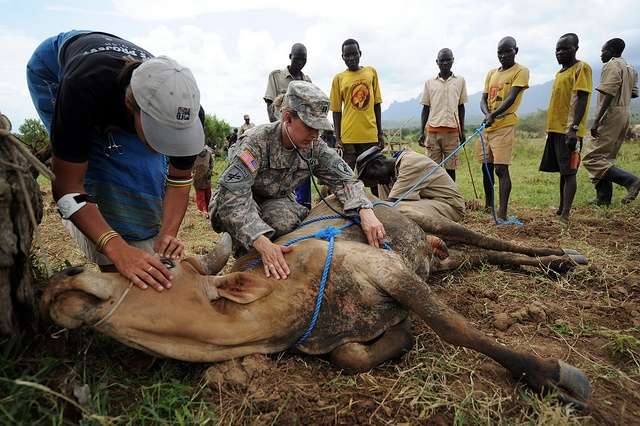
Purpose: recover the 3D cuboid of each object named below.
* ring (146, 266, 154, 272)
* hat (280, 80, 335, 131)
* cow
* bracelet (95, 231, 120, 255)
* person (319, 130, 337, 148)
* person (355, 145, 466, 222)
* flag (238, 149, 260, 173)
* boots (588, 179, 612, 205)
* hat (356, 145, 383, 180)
[{"bbox_3d":[-1.222,0.404,3.129,0.044,0.040,0.021,-13,20,-30],"label":"ring"},{"bbox_3d":[-0.126,-1.002,4.133,0.438,0.453,0.334,-6,17,-9],"label":"hat"},{"bbox_3d":[0.029,0.570,4.112,3.830,1.175,2.273,-3,16,-2],"label":"cow"},{"bbox_3d":[-1.584,0.213,3.265,0.063,0.154,0.160,27,14,35],"label":"bracelet"},{"bbox_3d":[0.144,-1.414,8.393,0.574,0.278,0.752,-4,12,1],"label":"person"},{"bbox_3d":[1.274,-0.414,6.220,1.574,1.048,0.924,-5,3,8],"label":"person"},{"bbox_3d":[-0.673,-0.483,4.149,0.057,0.206,0.154,-23,26,47],"label":"flag"},{"bbox_3d":[4.701,-0.343,7.375,0.311,0.498,0.421,-8,5,-15],"label":"boots"},{"bbox_3d":[0.691,-0.795,6.467,0.522,0.232,0.387,-40,0,15],"label":"hat"}]
